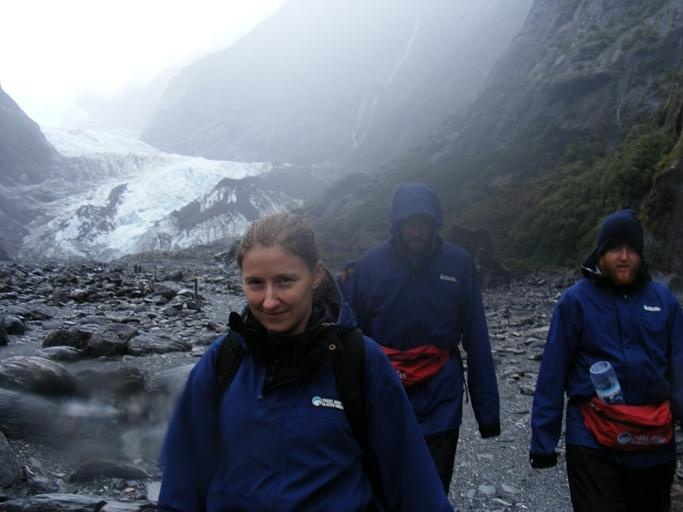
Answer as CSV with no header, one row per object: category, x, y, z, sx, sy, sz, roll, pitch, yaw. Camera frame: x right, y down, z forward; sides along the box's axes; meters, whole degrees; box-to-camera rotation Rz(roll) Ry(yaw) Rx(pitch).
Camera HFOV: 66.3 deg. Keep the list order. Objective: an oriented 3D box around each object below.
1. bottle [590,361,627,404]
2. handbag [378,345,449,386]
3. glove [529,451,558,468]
bottle,1.724,0.816,3.354,0.161,0.285,0.160,-22,-9,-4
handbag,0.541,0.771,3.730,0.336,0.151,0.346,10,22,38
glove,1.336,1.362,3.487,0.126,0.086,0.128,-4,4,-29
